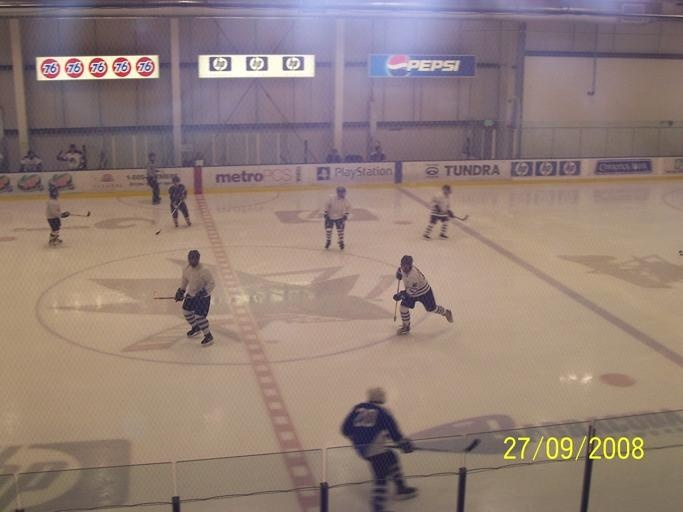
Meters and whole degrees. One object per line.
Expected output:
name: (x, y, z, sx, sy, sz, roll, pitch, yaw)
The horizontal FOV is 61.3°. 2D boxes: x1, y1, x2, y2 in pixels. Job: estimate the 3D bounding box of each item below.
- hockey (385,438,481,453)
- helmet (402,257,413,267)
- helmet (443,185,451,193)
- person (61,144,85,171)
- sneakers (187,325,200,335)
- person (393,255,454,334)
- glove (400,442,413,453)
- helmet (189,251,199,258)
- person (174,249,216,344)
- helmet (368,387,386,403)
hockey: (0.922, 1.879, 5.684, 0.931, 0.176, 0.063, -2, 13, -3)
helmet: (1.308, 0.084, 11.385, 0.152, 0.186, 0.190, -1, 1, -10)
helmet: (3.343, -2.131, 18.123, 0.208, 0.245, 0.248, -6, 9, -28)
person: (-13.254, -4.993, 28.571, 1.094, 1.204, 3.361, -7, 13, -23)
sneakers: (-2.981, 1.499, 11.755, 0.294, 0.186, 0.151, -8, 33, 3)
person: (1.870, 0.908, 13.020, 1.289, 1.538, 0.843, -6, 41, -4)
glove: (0.654, 1.874, 5.713, 0.112, 0.110, 0.113, 2, 14, 11)
helmet: (-2.768, -0.053, 10.919, 0.174, 0.204, 0.226, -3, 3, -25)
person: (-2.899, 0.754, 11.399, 0.714, 1.921, 0.940, -6, 13, -16)
helmet: (0.613, 2.332, 9.719, 0.191, 0.113, 0.191, 3, 8, 25)
